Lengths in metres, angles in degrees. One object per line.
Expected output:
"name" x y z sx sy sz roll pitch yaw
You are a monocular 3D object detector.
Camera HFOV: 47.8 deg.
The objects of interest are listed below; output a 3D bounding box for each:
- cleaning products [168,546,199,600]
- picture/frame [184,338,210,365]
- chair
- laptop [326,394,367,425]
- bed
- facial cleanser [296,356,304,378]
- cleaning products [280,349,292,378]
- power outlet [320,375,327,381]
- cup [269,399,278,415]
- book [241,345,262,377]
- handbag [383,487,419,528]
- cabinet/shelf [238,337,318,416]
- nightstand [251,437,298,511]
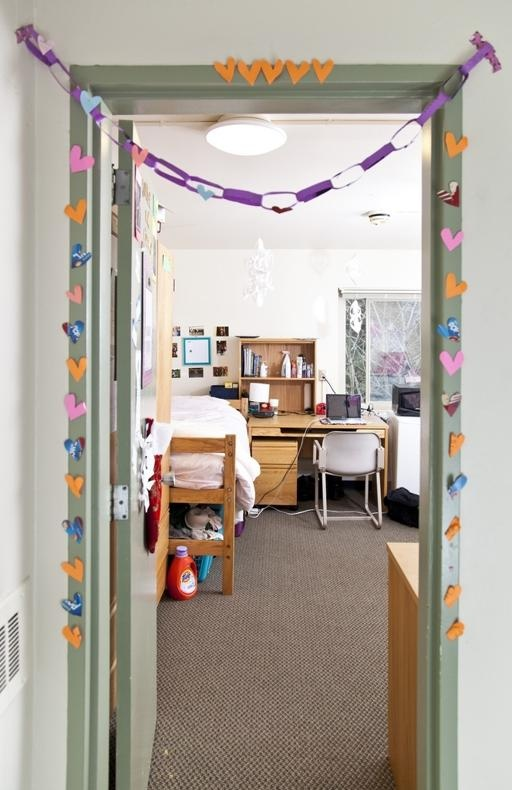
"cleaning products" -0.345 0.840 2.749 0.137 0.248 0.110 -4 7 -25
"picture/frame" -0.532 -0.407 5.197 0.189 0.238 0.021 0 3 2
"chair" 0.615 0.533 4.049 0.490 0.897 0.608 0 6 1
"laptop" 0.695 0.104 4.595 0.256 0.224 0.193 0 -2 0
"bed" -0.227 0.461 3.203 0.483 0.584 0.855 0 0 3
"facial cleanser" 0.383 -0.236 4.997 0.078 0.185 0.039 -2 5 -30
"cleaning products" 0.262 -0.272 5.023 0.095 0.222 0.184 0 5 1
"power outlet" 0.604 -0.151 5.109 0.039 0.022 0.044 1 -23 -3
"cup" 0.167 0.109 4.999 0.090 0.169 0.101 2 1 9
"book" -0.041 -0.285 5.036 0.189 0.239 0.075 -1 4 -13
"handbag" 1.016 0.779 4.047 0.227 0.174 0.424 2 5 13
"cabinet/shelf" 0.177 -0.184 5.020 0.545 0.660 0.198 0 -1 -1
"nightstand" 0.150 0.557 4.271 0.391 0.781 0.401 0 2 -1
